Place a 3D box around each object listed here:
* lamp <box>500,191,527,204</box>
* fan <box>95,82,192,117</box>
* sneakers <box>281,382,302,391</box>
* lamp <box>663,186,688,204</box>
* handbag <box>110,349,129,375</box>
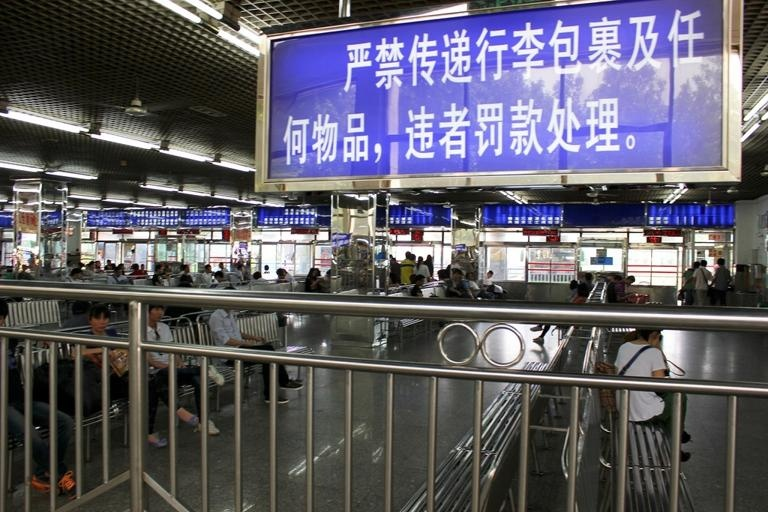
[{"bbox_3d":[4.361,-1.881,19.268,0.610,0.348,1.876,3,0,20],"label":"lamp"},{"bbox_3d":[-3.744,-2.305,8.847,1.185,0.421,1.319,-2,7,41],"label":"fan"},{"bbox_3d":[-1.130,1.567,7.072,0.275,0.091,0.113,0,1,0],"label":"sneakers"},{"bbox_3d":[8.513,-1.734,17.129,0.592,0.464,3.540,3,0,26],"label":"lamp"},{"bbox_3d":[-1.780,0.704,3.894,0.096,0.198,0.417,4,0,-25],"label":"handbag"}]
